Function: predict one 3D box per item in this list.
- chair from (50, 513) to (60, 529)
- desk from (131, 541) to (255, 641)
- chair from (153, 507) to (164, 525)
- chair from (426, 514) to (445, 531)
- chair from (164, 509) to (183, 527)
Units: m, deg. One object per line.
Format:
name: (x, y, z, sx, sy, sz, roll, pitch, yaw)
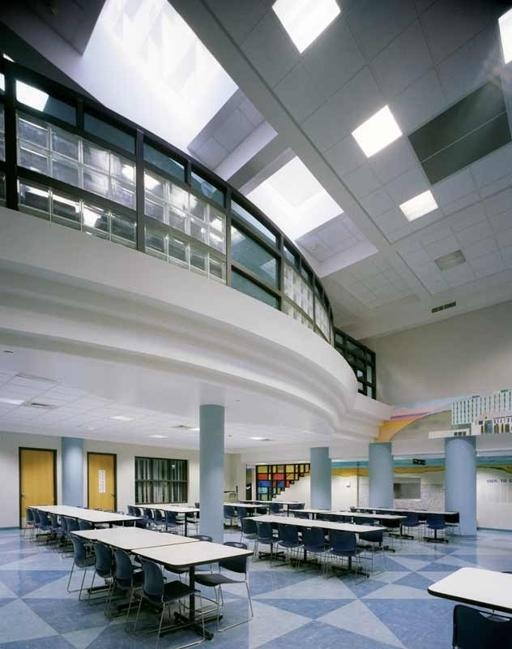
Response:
chair: (-4.060, 3.952, 10.141, 0.186, 0.308, 0.461, 9, -17, -28)
desk: (-0.681, 2.641, 5.496, 1.085, 1.010, 1.135, 10, -12, -39)
chair: (-2.522, 4.970, 13.080, 0.280, 0.374, 0.718, 4, -15, -11)
chair: (4.220, 4.615, 11.875, 0.389, 0.463, 0.390, -3, -20, 24)
chair: (-2.064, 4.835, 12.567, 0.424, 0.403, 0.832, 1, -15, -2)
